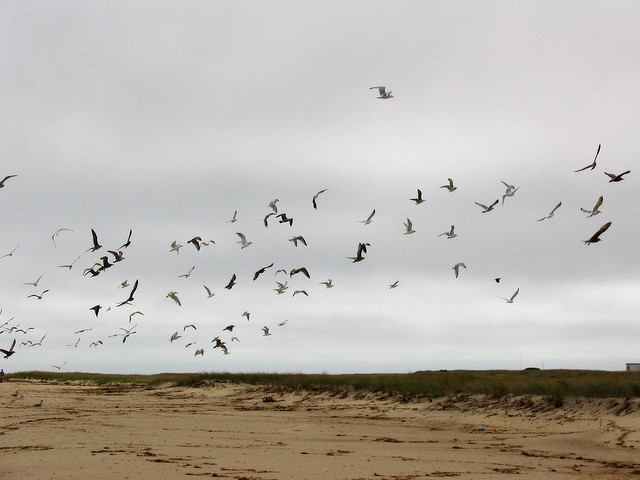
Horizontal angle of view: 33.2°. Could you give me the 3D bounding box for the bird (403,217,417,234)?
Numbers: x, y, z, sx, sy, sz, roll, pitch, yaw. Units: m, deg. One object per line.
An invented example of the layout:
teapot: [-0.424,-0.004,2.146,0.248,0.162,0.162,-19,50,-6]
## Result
bird: [2.064,-0.327,24.865,0.425,0.559,0.106,-2,-61,-2]
